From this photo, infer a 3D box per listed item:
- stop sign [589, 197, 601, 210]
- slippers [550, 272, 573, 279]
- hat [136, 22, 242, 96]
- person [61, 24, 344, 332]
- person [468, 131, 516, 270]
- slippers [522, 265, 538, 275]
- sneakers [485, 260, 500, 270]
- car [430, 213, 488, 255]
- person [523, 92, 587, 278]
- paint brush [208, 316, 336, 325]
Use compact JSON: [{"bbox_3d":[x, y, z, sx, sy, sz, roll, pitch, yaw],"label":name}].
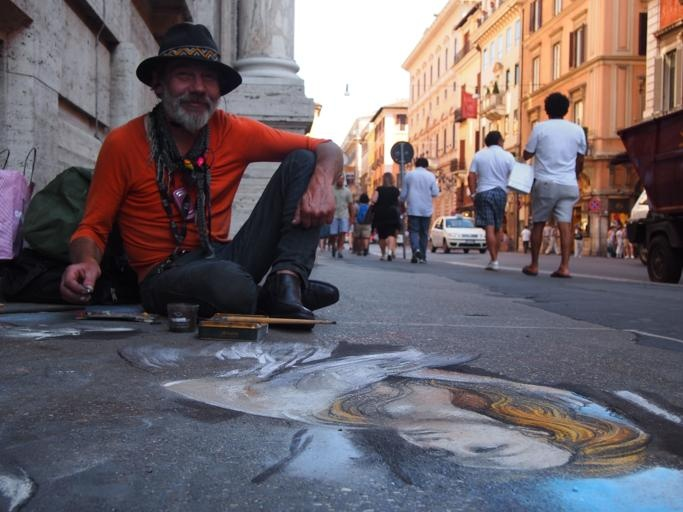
[{"bbox_3d":[14.303,-2.935,31.321,0.715,0.635,0.183,-4,-1,-10],"label":"stop sign"},{"bbox_3d":[2.992,0.263,7.549,0.242,0.096,0.100,0,3,21],"label":"slippers"},{"bbox_3d":[-0.815,-0.998,2.968,0.450,0.209,0.503,8,-9,-29],"label":"hat"},{"bbox_3d":[-0.744,-0.412,2.974,1.479,1.450,1.174,-4,9,-2],"label":"person"},{"bbox_3d":[2.431,-0.915,8.981,0.698,1.667,0.742,2,1,-4],"label":"person"},{"bbox_3d":[2.774,0.222,8.118,0.124,0.143,0.222,0,24,9],"label":"slippers"},{"bbox_3d":[2.456,0.153,8.973,0.110,0.110,0.272,0,5,-11],"label":"sneakers"},{"bbox_3d":[5.447,-1.074,26.208,2.050,1.424,3.202,0,-2,-11],"label":"car"},{"bbox_3d":[2.984,-1.050,7.807,0.805,2.108,0.781,3,2,22],"label":"person"},{"bbox_3d":[-0.355,0.306,2.629,0.462,0.043,0.045,4,-33,-23],"label":"paint brush"}]
